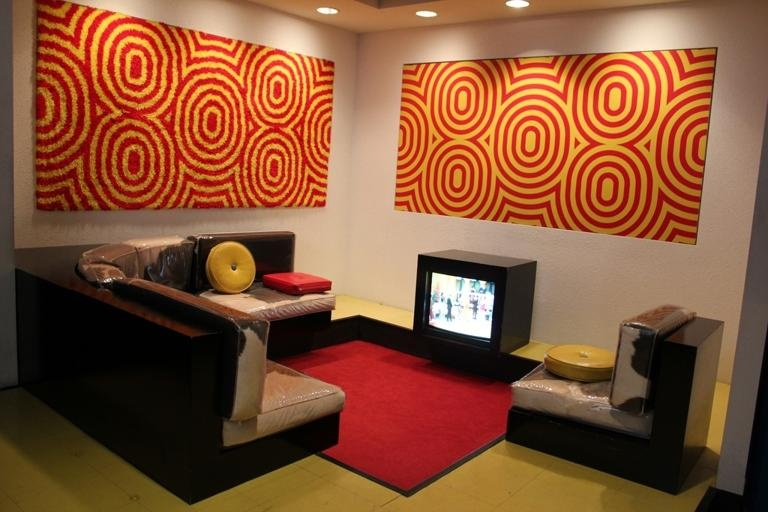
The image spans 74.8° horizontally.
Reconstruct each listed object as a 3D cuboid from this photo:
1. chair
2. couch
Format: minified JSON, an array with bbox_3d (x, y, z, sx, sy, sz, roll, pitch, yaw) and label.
[{"bbox_3d":[1.571,0.703,3.475,1.163,1.010,1.150,8,12,35],"label":"chair"},{"bbox_3d":[-1.458,0.634,3.261,1.754,0.703,1.881,14,15,41],"label":"couch"}]
